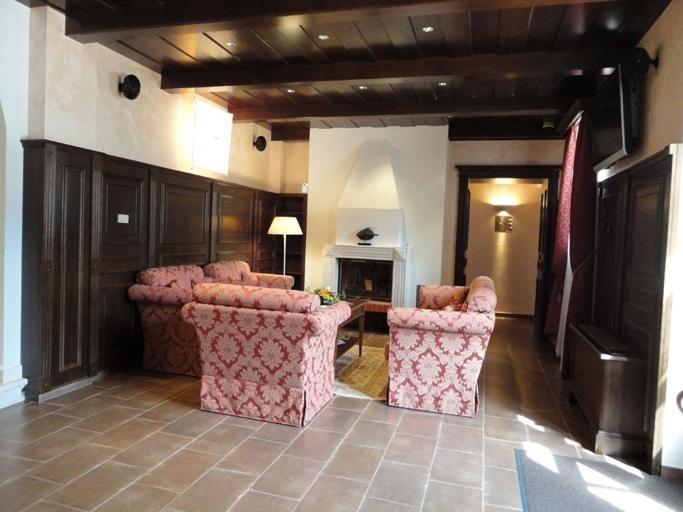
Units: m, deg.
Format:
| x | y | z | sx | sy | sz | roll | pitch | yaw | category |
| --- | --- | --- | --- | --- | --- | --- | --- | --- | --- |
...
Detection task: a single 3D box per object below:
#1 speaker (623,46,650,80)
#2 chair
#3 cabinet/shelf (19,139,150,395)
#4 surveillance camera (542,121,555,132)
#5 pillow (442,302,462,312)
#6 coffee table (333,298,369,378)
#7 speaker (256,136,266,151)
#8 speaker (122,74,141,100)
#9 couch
| x | y | z | sx | sy | sz | roll | pitch | yaw | category |
| --- | --- | --- | --- | --- | --- | --- | --- | --- | --- |
| 2.583 | -1.682 | 4.324 | 0.100 | 0.209 | 0.259 | -10 | 33 | -28 | speaker |
| -1.249 | 0.799 | 5.122 | 2.591 | 1.255 | 1.052 | 7 | 11 | 27 | chair |
| -2.705 | 0.052 | 5.224 | 0.358 | 2.439 | 1.414 | 6 | 11 | 26 | cabinet/shelf |
| 3.048 | -1.906 | 7.282 | 0.134 | 0.125 | 0.158 | -1 | 20 | 3 | surveillance camera |
| 1.173 | 0.549 | 5.207 | 0.195 | 0.070 | 0.205 | 1 | -1 | -10 | pillow |
| 0.111 | 1.023 | 5.992 | 0.398 | 0.649 | 0.868 | 1 | 2 | 17 | coffee table |
| -1.363 | -1.901 | 8.384 | 0.111 | 0.254 | 0.323 | 4 | 10 | 13 | speaker |
| -2.402 | -1.939 | 5.672 | 0.069 | 0.247 | 0.239 | 6 | 8 | 27 | speaker |
| 1.072 | 0.937 | 5.193 | 1.047 | 1.306 | 1.854 | 2 | 0 | 16 | couch |
